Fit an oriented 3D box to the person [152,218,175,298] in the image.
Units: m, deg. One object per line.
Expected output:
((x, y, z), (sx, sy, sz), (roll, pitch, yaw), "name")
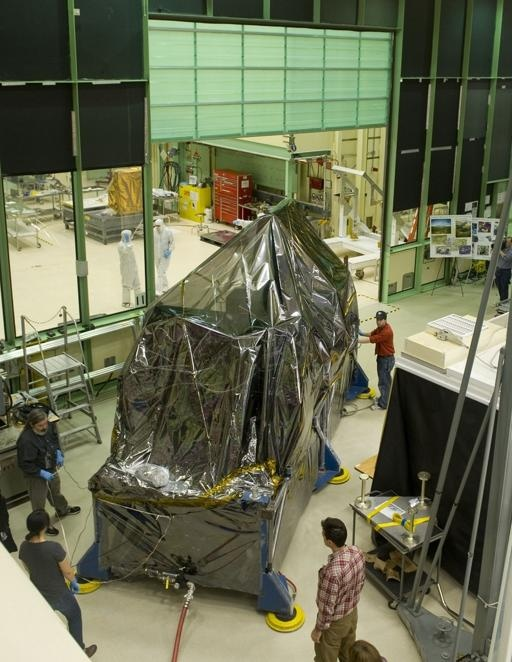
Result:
((-1.564, -1.268, 9.420), (0.308, 1.225, 0.577), (-3, 14, -10), "person")

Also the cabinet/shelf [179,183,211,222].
((-1.584, -3.390, 14.770), (0.395, 0.899, 1.012), (-9, 27, -35), "cabinet/shelf")

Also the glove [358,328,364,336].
((1.463, 0.007, 7.810), (0.029, 0.109, 0.082), (-4, -21, 4), "glove")

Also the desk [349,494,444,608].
((1.130, 1.761, 4.529), (0.477, 0.629, 0.673), (-5, 16, -23), "desk")

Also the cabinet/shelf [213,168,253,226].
((-0.653, -3.338, 14.005), (1.062, 1.357, 0.527), (9, 17, 36), "cabinet/shelf")

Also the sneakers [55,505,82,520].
((-1.780, 1.722, 5.320), (0.210, 0.088, 0.083), (-17, 38, -37), "sneakers")

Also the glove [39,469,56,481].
((-1.777, 1.232, 4.764), (0.131, 0.083, 0.050), (7, -9, -30), "glove")

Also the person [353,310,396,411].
((1.498, 0.359, 6.999), (0.412, 1.313, 0.633), (2, 14, 11), "person")
